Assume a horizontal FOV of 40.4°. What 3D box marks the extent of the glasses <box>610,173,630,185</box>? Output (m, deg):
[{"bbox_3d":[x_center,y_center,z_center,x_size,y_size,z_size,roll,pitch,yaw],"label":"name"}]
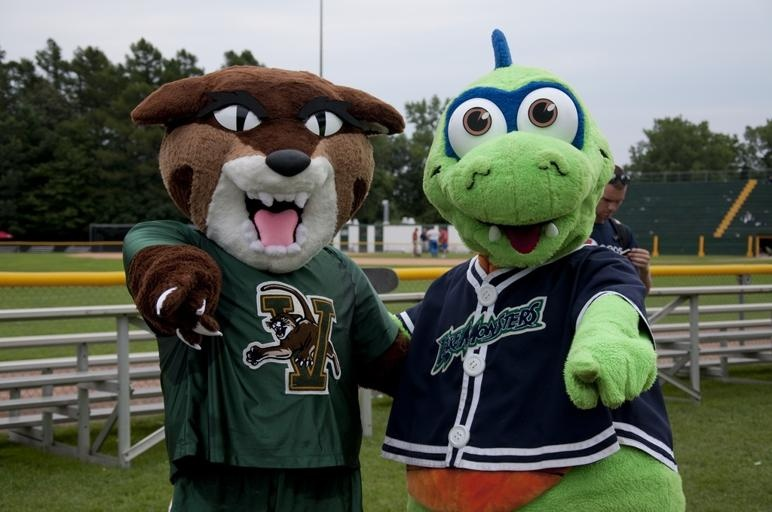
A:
[{"bbox_3d":[2.130,-0.690,9.557,0.208,0.103,0.271,1,-2,-2],"label":"glasses"}]
